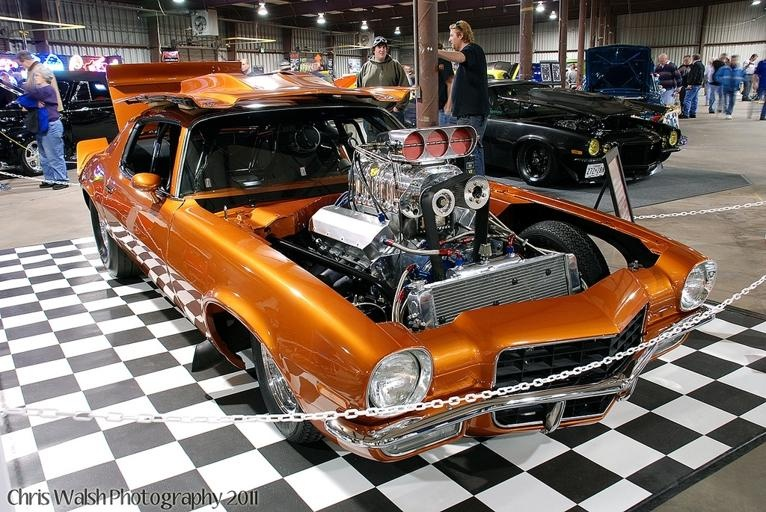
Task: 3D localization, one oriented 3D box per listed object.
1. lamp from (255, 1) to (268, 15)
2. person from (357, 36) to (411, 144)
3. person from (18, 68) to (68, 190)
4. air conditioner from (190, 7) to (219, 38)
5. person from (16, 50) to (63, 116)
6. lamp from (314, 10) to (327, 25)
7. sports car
[{"bbox_3d":[-7.108,-14.782,25.986,0.570,0.728,1.576,-7,21,-11],"label":"lamp"},{"bbox_3d":[0.008,-2.606,7.263,0.888,1.848,0.491,-2,28,0],"label":"person"},{"bbox_3d":[-6.102,-2.329,7.922,0.639,2.186,0.572,-15,25,-27],"label":"person"},{"bbox_3d":[-10.417,-13.617,25.411,1.478,1.309,0.778,6,23,21],"label":"air conditioner"},{"bbox_3d":[-6.182,-3.145,7.934,0.477,1.164,0.451,-16,-4,-11],"label":"person"},{"bbox_3d":[-4.181,-16.282,29.792,0.623,0.611,2.042,-5,20,-7],"label":"lamp"},{"bbox_3d":[-0.736,-0.328,3.435,2.438,1.401,4.572,-15,27,-34],"label":"sports car"}]
